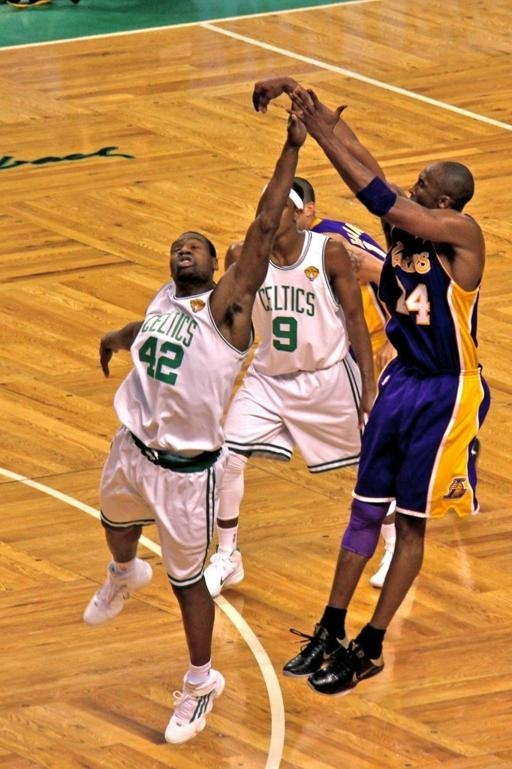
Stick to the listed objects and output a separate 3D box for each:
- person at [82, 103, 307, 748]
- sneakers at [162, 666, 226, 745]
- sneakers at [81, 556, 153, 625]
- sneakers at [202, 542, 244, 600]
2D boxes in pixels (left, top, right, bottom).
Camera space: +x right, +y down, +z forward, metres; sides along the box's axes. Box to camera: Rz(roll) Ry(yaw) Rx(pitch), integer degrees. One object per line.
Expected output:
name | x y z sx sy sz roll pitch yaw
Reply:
person | -0.224 0.143 2.380 0.375 1.818 0.642 -5 20 -32
sneakers | -0.193 0.951 2.423 0.106 0.266 0.128 26 -14 30
sneakers | -0.517 0.783 2.957 0.106 0.316 0.149 50 5 31
sneakers | -0.129 0.762 3.182 0.099 0.107 0.266 4 14 30
